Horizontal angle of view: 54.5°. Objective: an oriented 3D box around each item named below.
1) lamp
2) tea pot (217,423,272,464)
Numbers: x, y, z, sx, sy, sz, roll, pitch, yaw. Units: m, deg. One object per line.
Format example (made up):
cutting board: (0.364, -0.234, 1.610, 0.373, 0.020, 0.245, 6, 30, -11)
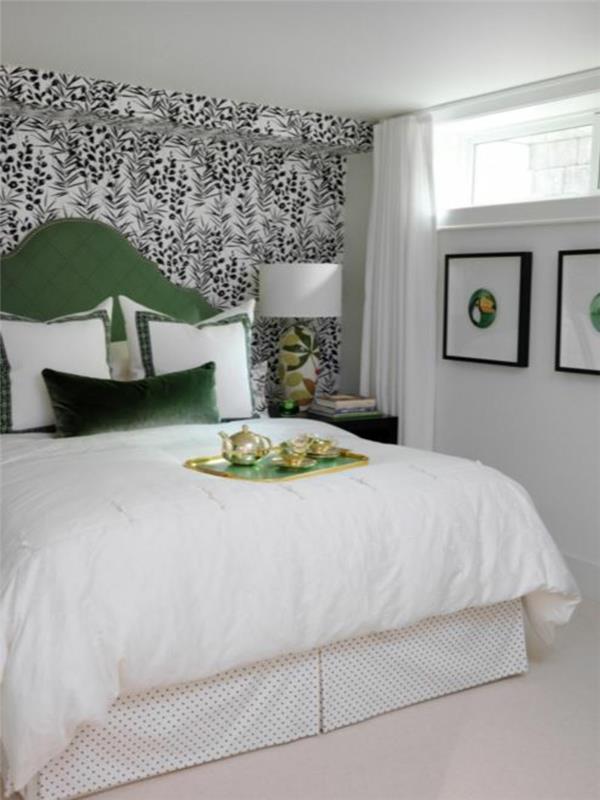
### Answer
lamp: (0.042, -0.413, 3.860, 0.542, 0.880, 0.519, 8, -9, -15)
tea pot: (-0.190, 0.152, 2.030, 0.165, 0.112, 0.112, 5, 1, 1)
